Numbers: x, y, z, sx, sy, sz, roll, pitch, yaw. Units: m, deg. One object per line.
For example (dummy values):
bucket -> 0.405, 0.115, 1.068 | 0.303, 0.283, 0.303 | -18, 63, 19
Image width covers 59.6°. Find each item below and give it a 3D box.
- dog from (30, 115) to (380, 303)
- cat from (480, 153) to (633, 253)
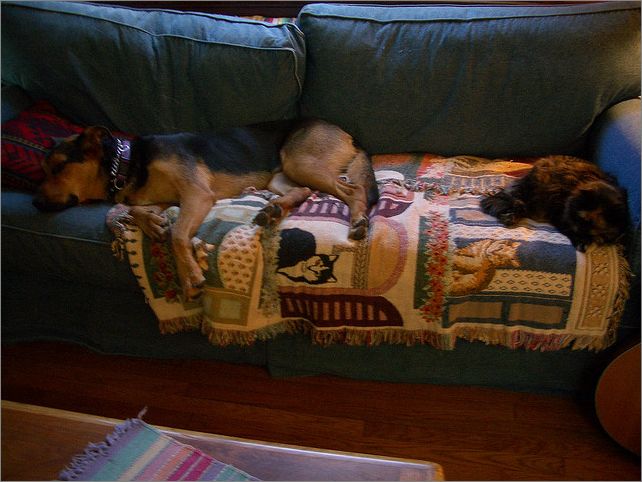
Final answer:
dog -> -0.544, -0.313, 2.645 | 1.631, 0.450, 0.859 | -9, 37, -7
cat -> 1.044, -0.188, 2.454 | 0.523, 0.176, 0.507 | -10, 27, -6
